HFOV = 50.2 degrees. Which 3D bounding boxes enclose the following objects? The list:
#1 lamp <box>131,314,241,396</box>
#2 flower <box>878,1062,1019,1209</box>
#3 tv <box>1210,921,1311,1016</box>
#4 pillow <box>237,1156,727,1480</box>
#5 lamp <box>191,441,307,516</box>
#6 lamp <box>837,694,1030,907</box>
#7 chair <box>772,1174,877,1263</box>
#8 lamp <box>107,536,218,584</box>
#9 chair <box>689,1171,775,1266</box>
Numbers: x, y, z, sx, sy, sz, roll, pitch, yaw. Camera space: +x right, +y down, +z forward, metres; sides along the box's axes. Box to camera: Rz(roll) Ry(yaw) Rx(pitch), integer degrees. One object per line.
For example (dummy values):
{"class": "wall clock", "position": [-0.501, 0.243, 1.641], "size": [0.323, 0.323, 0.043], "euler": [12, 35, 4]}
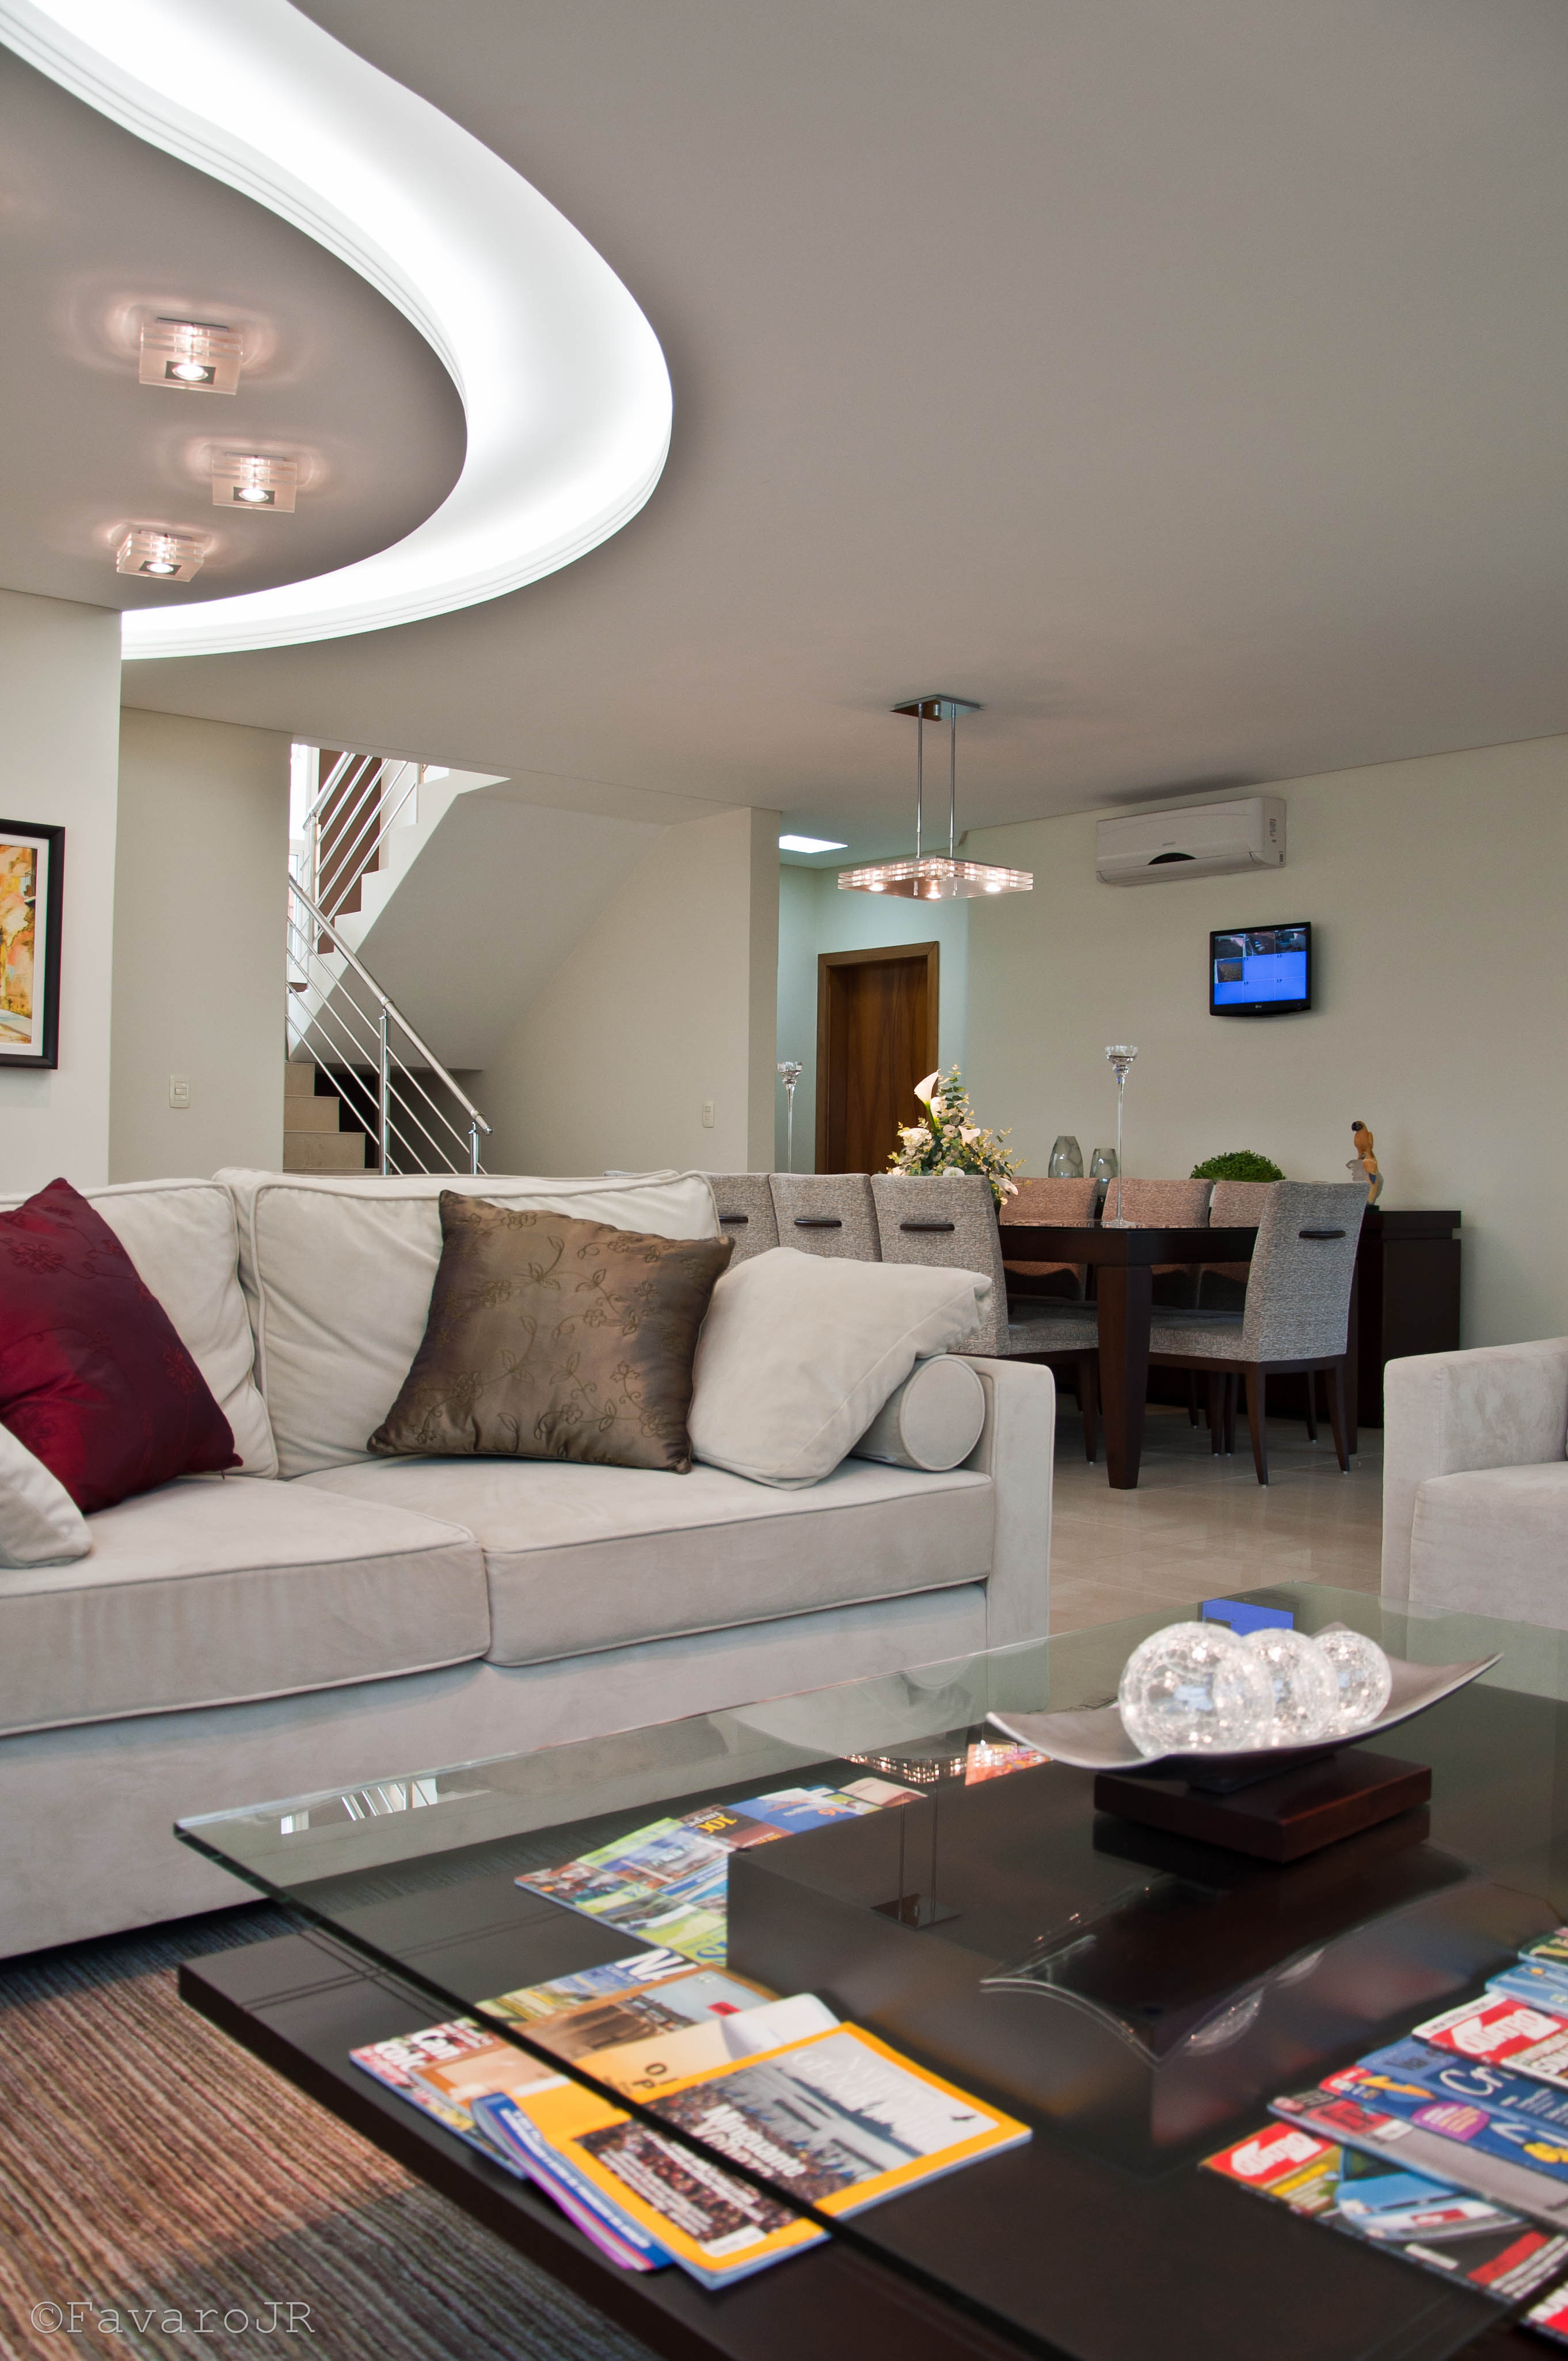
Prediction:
{"class": "lamp", "position": [-1.186, -1.649, 3.331], "size": [0.189, 0.061, 0.240], "euler": [-3, 4, -20]}
{"class": "flower", "position": [0.571, -0.135, 5.244], "size": [0.429, 0.484, 0.415], "euler": [2, -4, -38]}
{"class": "tv", "position": [2.039, -0.920, 7.089], "size": [0.055, 0.365, 0.419], "euler": [-2, -1, -42]}
{"class": "pillow", "position": [-0.576, 0.202, 2.340], "size": [0.452, 0.453, 0.171], "euler": [-4, -16, -35]}
{"class": "lamp", "position": [-1.270, -1.685, 3.985], "size": [0.229, 0.060, 0.292], "euler": [-3, 4, -16]}
{"class": "lamp", "position": [0.532, -1.410, 6.503], "size": [0.767, 0.991, 0.762], "euler": [-6, 9, -44]}
{"class": "chair", "position": [0.113, 0.088, 4.940], "size": [0.250, 0.360, 0.264], "euler": [3, 5, 32]}
{"class": "lamp", "position": [-1.687, -1.718, 4.534], "size": [0.244, 0.055, 0.320], "euler": [-3, 4, -20]}
{"class": "chair", "position": [-0.143, 0.099, 4.987], "size": [0.187, 0.250, 0.254], "euler": [-6, 8, -42]}
